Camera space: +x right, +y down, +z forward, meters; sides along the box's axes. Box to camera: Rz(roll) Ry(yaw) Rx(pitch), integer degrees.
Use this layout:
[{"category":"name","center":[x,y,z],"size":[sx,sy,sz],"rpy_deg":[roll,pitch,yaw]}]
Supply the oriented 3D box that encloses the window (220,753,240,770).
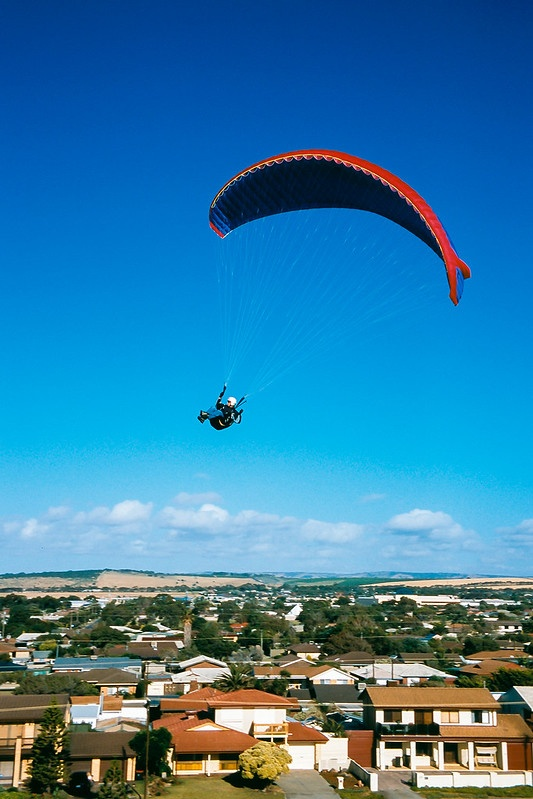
[{"category":"window","center":[-1.235,12.081,23.962],"size":[0.859,0.539,0.441],"rpy_deg":[2,-18,-4]}]

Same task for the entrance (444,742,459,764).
[{"category":"entrance","center":[6.503,12.527,25.100],"size":[0.563,0.652,0.199],"rpy_deg":[0,-10,-10]}]

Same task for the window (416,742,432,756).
[{"category":"window","center":[5.535,12.354,25.099],"size":[0.615,0.542,0.310],"rpy_deg":[0,-10,5]}]

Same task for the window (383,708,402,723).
[{"category":"window","center":[4.459,11.252,25.241],"size":[0.571,0.381,0.073],"rpy_deg":[0,-16,4]}]

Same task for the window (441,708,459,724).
[{"category":"window","center":[6.552,11.364,25.422],"size":[0.769,0.483,0.394],"rpy_deg":[1,-18,0]}]

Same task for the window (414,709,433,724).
[{"category":"window","center":[5.537,11.296,25.262],"size":[0.528,0.455,0.178],"rpy_deg":[1,-15,-1]}]

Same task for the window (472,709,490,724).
[{"category":"window","center":[7.719,11.459,25.617],"size":[0.766,0.528,0.407],"rpy_deg":[0,-11,14]}]

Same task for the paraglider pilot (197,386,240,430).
[{"category":"paraglider pilot","center":[-0.854,0.304,13.931],"size":[0.829,0.644,0.537],"rpy_deg":[-18,-8,-19]}]

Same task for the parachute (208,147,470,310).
[{"category":"parachute","center":[1.698,-4.861,16.833],"size":[6.144,1.701,4.982],"rpy_deg":[17,-28,11]}]
